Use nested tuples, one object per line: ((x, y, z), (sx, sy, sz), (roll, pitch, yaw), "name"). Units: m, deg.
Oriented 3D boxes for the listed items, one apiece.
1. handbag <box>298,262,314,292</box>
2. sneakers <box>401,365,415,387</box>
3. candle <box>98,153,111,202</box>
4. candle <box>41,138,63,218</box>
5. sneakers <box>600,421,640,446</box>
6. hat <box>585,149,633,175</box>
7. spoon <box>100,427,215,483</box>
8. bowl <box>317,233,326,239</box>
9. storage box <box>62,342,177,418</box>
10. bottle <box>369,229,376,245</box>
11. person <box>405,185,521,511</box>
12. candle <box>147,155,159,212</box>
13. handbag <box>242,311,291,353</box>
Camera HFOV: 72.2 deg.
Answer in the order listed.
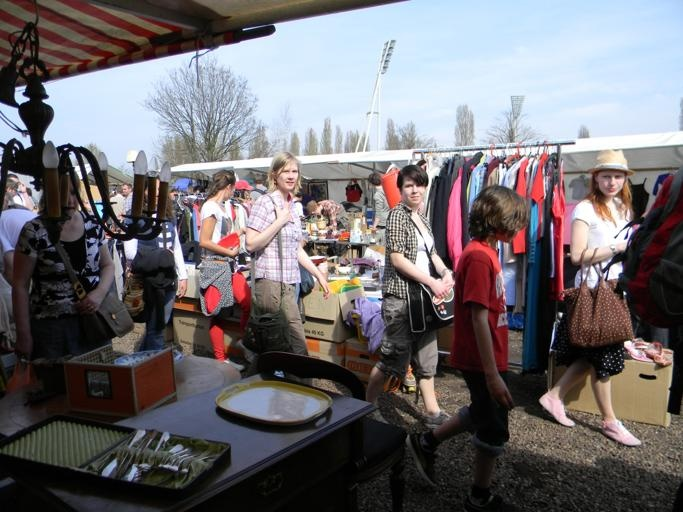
((-0.351, 0.212, 4.484), (0.073, 0.224, 0.159), (-18, 4, 30), "handbag")
((0.652, 1.132, 4.386), (0.140, 0.199, 0.443), (0, -11, 0), "sneakers")
((-1.161, -0.398, 2.295), (0.051, 0.230, 0.397), (-4, 15, -26), "candle")
((-1.216, -0.323, 1.980), (0.061, 0.311, 0.267), (-5, 15, -31), "candle")
((2.205, 1.406, 3.755), (0.113, 0.125, 0.288), (-21, 20, -23), "sneakers")
((2.222, -0.808, 3.846), (0.250, 0.120, 0.259), (-1, -10, 44), "hat")
((-0.667, 0.740, 1.718), (0.188, 0.036, 0.188), (9, 11, 20), "spoon")
((-0.349, -0.359, 8.332), (0.089, 0.074, 0.095), (0, -3, 0), "bowl")
((-1.012, 0.516, 2.182), (0.335, 0.231, 0.355), (1, 8, 12), "storage box")
((0.527, -0.312, 7.842), (0.045, 0.201, 0.206), (7, -6, 10), "bottle")
((0.819, 0.592, 2.860), (0.437, 2.007, 0.659), (-9, 17, -44), "person")
((-0.870, -0.327, 2.180), (0.046, 0.250, 0.132), (-1, 13, -16), "candle")
((-0.525, 0.570, 3.533), (0.384, 0.422, 0.237), (-1, -6, 3), "handbag")
